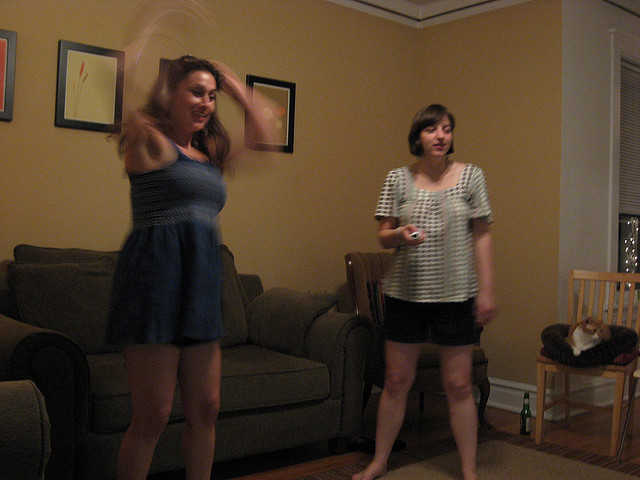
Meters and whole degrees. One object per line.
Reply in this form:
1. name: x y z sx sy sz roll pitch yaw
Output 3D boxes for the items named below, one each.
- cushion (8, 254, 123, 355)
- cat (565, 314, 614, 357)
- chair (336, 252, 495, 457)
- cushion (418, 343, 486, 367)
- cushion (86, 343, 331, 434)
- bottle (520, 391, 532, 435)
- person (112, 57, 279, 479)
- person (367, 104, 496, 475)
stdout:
1. cushion: -1.191 0.311 2.595 0.512 0.421 0.181 -10 6 -33
2. cat: 1.655 0.581 3.436 0.278 0.247 0.306 2 0 10
3. chair: 0.554 0.647 3.699 0.896 1.118 0.724 2 -4 -31
4. cushion: 0.678 0.605 2.940 0.310 0.068 0.284 2 -6 -27
5. cushion: -0.559 0.716 2.841 1.211 0.313 0.442 2 0 -34
6. bottle: 1.331 1.092 3.595 0.063 0.276 0.206 2 1 30
7. person: -0.442 0.108 1.921 0.504 1.099 0.248 2 1 -16
8. person: 0.543 0.242 2.691 0.581 1.683 0.224 2 1 14
